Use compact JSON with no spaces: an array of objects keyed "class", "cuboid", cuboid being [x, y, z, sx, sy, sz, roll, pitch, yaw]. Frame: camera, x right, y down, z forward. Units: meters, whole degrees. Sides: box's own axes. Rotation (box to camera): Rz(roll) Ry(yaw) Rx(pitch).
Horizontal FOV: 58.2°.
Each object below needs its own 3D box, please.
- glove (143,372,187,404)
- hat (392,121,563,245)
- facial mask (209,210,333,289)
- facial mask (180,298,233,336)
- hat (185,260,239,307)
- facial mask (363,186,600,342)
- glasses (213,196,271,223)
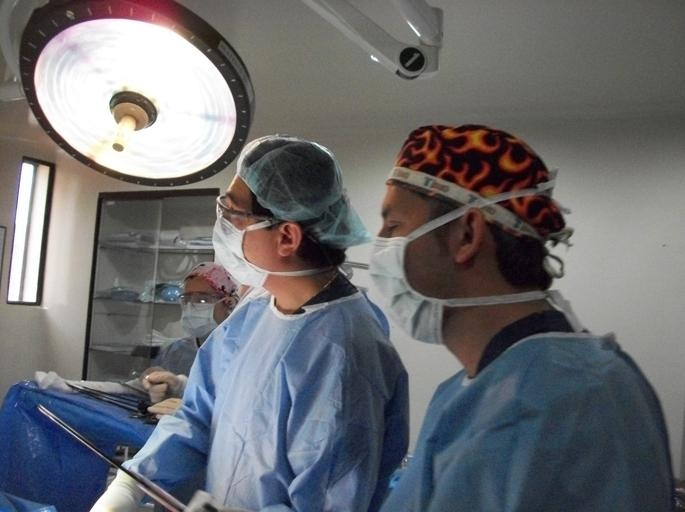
[{"class":"glove","cuboid":[-0.642,0.480,2.233,0.157,0.165,0.097,5,-25,-14]},{"class":"hat","cuboid":[0.276,-0.111,1.182,0.272,0.150,0.206,38,9,20]},{"class":"facial mask","cuboid":[-0.217,0.002,1.660,0.222,0.161,0.223,6,-5,4]},{"class":"facial mask","cuboid":[-0.601,0.267,2.779,0.162,0.137,0.187,-8,13,33]},{"class":"hat","cuboid":[-0.569,0.114,2.768,0.209,0.113,0.171,37,-22,-8]},{"class":"facial mask","cuboid":[0.235,0.032,1.196,0.297,0.207,0.310,-3,-10,22]},{"class":"glasses","cuboid":[-0.264,-0.112,1.580,0.098,0.027,0.081,11,1,-6]}]
